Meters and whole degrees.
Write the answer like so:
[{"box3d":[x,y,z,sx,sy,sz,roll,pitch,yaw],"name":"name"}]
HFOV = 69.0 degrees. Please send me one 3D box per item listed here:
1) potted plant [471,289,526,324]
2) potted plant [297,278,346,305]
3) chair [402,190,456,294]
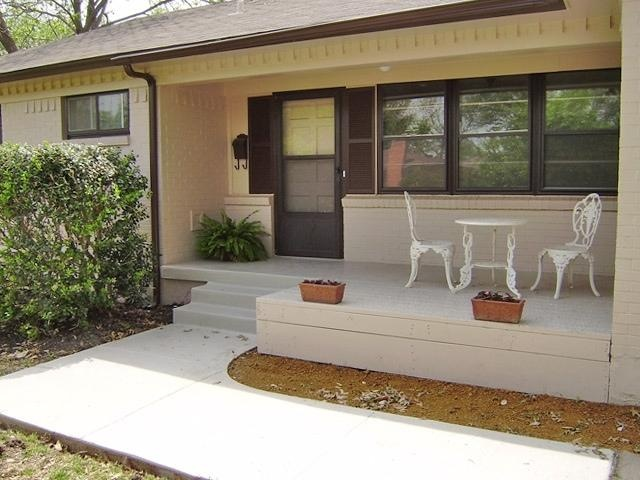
[{"box3d":[1.778,0.653,4.602,0.456,0.172,0.299,2,1,28],"name":"potted plant"},{"box3d":[0.009,0.598,5.348,0.442,0.180,0.271,0,1,16],"name":"potted plant"},{"box3d":[1.524,-0.017,6.426,0.655,1.265,1.547,0,9,11],"name":"chair"}]
